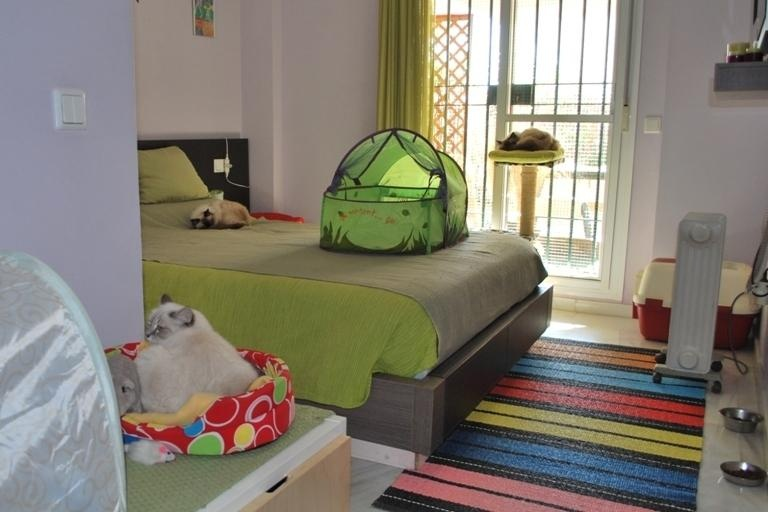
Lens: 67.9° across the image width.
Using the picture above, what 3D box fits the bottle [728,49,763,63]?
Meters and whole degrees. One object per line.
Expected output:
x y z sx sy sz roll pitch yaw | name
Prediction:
1.599 -0.886 2.539 0.138 0.059 0.198 8 15 30 | bottle

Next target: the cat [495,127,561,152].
1.098 -0.846 4.231 0.301 0.107 0.251 -3 8 -20 | cat

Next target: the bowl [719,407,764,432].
1.740 0.795 2.779 0.124 0.049 0.125 -3 10 0 | bowl

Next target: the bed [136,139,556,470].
-0.287 0.032 3.477 2.119 1.030 2.077 6 14 27 | bed

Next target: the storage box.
2.055 0.338 3.842 0.737 0.557 0.505 8 15 29 | storage box

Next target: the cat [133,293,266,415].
-0.473 0.251 1.432 0.281 0.235 0.156 0 14 -1 | cat
